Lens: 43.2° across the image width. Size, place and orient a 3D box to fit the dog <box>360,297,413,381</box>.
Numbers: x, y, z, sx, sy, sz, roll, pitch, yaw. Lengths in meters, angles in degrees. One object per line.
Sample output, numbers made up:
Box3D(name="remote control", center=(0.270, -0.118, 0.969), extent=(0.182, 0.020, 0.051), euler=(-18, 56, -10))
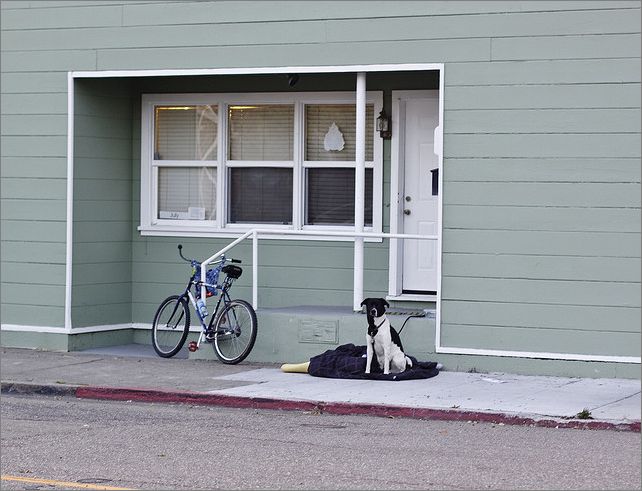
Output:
Box3D(name="dog", center=(0.766, 1.116, 9.984), extent=(0.420, 0.949, 0.733), euler=(4, 4, 40))

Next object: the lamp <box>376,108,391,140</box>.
Box3D(name="lamp", center=(0.963, -1.865, 12.336), extent=(0.245, 0.472, 0.129), euler=(2, 3, 3))
